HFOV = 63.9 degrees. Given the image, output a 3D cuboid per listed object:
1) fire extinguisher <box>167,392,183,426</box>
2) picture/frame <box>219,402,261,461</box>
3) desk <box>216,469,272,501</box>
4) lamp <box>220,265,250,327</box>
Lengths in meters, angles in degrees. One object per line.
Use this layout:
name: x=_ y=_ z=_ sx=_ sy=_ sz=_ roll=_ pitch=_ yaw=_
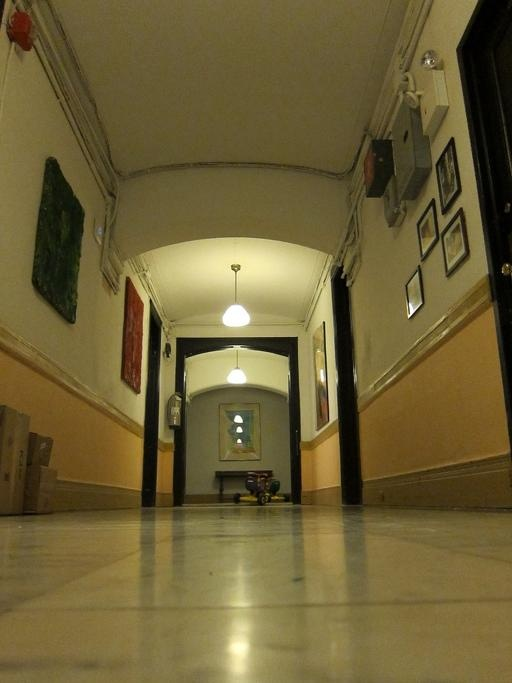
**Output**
fire extinguisher: x=-1.956 y=1.635 z=9.777 sx=0.342 sy=0.820 sz=0.196 roll=5 pitch=-16 yaw=-13
picture/frame: x=-0.598 y=3.412 z=15.221 sx=1.224 sy=2.560 sz=0.074 roll=0 pitch=-17 yaw=1
desk: x=-0.595 y=5.091 z=14.601 sx=1.858 sy=1.075 sz=0.993 roll=-8 pitch=-20 yaw=24
lamp: x=-0.459 y=-1.021 z=9.200 sx=0.454 sy=1.655 sz=0.595 roll=-2 pitch=-22 yaw=1
